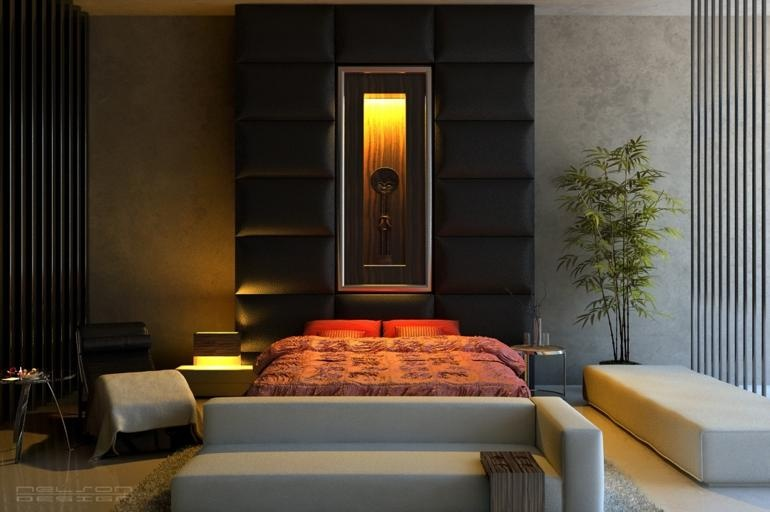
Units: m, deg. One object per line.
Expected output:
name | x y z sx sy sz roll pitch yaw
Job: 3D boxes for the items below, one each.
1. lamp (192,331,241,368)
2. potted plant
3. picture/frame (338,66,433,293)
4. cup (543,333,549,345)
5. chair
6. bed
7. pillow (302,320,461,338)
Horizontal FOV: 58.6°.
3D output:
lamp | -1.667 1.013 7.408 0.599 0.362 0.402 -2 -6 19
potted plant | 2.458 -0.082 7.437 1.255 2.473 0.589 -2 2 8
picture/frame | -0.012 -0.842 7.467 1.069 2.476 0.145 -3 2 0
cup | 1.621 0.861 7.079 0.040 0.125 0.048 -3 2 -17
chair | -2.341 1.181 6.338 1.067 0.784 1.453 -2 10 -38
bed | 0.034 0.972 5.979 2.309 0.376 1.317 -2 2 -2
pillow | -0.055 0.751 7.157 1.562 0.186 0.400 -2 2 7
